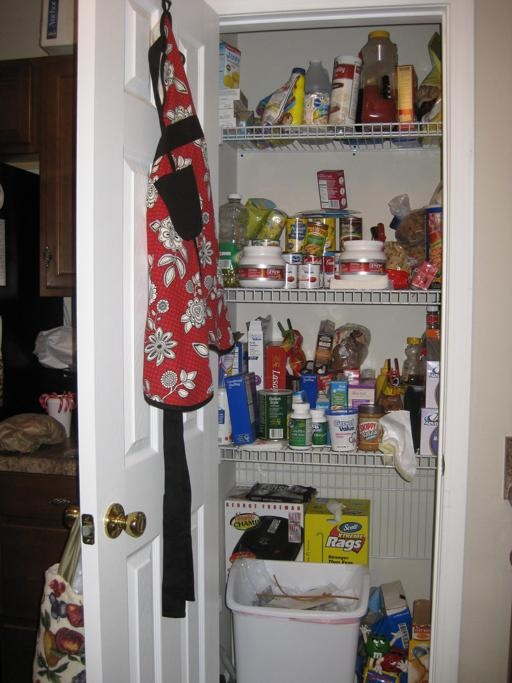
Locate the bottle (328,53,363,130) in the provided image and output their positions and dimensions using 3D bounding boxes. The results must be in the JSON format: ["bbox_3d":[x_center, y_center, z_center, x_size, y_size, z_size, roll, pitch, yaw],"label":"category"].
[{"bbox_3d":[0.235,-0.645,1.628,0.085,0.181,0.071,-1,2,-4],"label":"bottle"}]

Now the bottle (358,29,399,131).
[{"bbox_3d":[0.319,-0.679,1.644,0.106,0.259,0.112,0,2,0],"label":"bottle"}]

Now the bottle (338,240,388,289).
[{"bbox_3d":[0.270,-0.186,1.581,0.125,0.127,0.124,0,5,-7],"label":"bottle"}]

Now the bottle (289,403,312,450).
[{"bbox_3d":[0.119,0.226,1.680,0.061,0.124,0.046,0,2,9],"label":"bottle"}]

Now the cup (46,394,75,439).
[{"bbox_3d":[-0.644,0.246,2.071,0.120,0.164,0.118,1,2,0],"label":"cup"}]

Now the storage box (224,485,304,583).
[{"bbox_3d":[0.006,0.608,1.967,0.282,0.266,0.156,7,3,-20],"label":"storage box"}]

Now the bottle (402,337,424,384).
[{"bbox_3d":[0.454,0.054,1.800,0.054,0.126,0.113,0,2,12],"label":"bottle"}]

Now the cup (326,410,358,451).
[{"bbox_3d":[0.232,0.235,1.688,0.097,0.106,0.099,0,-2,0],"label":"cup"}]

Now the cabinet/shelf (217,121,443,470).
[{"bbox_3d":[0.296,-0.155,1.862,0.668,0.901,0.194,-1,5,-5],"label":"cabinet/shelf"}]
